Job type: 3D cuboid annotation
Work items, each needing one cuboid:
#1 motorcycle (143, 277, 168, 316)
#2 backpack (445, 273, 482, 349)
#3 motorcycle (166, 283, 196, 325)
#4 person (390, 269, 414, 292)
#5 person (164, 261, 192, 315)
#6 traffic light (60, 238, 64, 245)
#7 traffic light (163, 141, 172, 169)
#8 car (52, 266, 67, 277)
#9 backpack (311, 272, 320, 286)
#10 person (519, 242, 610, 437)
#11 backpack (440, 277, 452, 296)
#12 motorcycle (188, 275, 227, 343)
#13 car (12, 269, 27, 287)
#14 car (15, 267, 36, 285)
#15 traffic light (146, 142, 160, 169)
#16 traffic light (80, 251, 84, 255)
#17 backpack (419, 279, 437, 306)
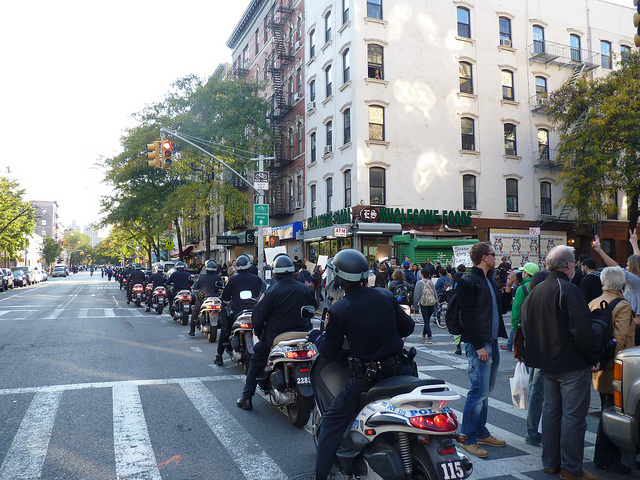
[{"bbox_3d":[-5.843,2.040,23.359,0.726,1.252,2.052,5,-8,-23],"label":"motorcycle"},{"bbox_3d":[2.186,1.032,10.220,0.283,1.039,0.580,-5,7,-40],"label":"backpack"},{"bbox_3d":[-4.109,1.944,19.332,0.625,0.886,1.464,1,-1,-16],"label":"motorcycle"},{"bbox_3d":[2.539,1.265,20.302,0.803,1.241,0.526,0,-5,13],"label":"person"},{"bbox_3d":[-4.253,1.229,20.330,0.867,1.139,1.661,2,7,-10],"label":"person"},{"bbox_3d":[-45.186,0.294,114.787,0.484,1.797,0.514,2,-3,-14],"label":"traffic light"},{"bbox_3d":[-5.107,-2.857,21.826,0.266,0.899,0.477,-2,6,-14],"label":"traffic light"},{"bbox_3d":[-34.044,4.227,85.745,1.088,1.001,1.935,1,8,-6],"label":"car"},{"bbox_3d":[-0.173,1.582,26.039,0.235,0.521,0.585,0,5,-2],"label":"backpack"},{"bbox_3d":[3.468,1.500,9.549,0.531,2.740,0.939,-4,7,-34],"label":"person"},{"bbox_3d":[3.958,1.462,20.413,0.345,0.534,0.537,7,-18,-21],"label":"backpack"},{"bbox_3d":[-2.685,1.983,16.159,0.934,1.271,1.795,3,-1,-16],"label":"motorcycle"},{"bbox_3d":[-22.645,2.821,49.024,0.827,0.853,1.589,0,-7,-12],"label":"car"},{"bbox_3d":[-24.083,2.853,53.389,1.104,1.062,2.068,0,-10,-18],"label":"car"},{"bbox_3d":[-5.578,-2.902,21.923,0.379,0.813,1.901,-2,5,-14],"label":"traffic light"},{"bbox_3d":[-60.702,3.344,167.006,0.703,0.972,1.496,3,4,-18],"label":"traffic light"},{"bbox_3d":[3.036,1.499,18.455,0.416,0.675,0.440,1,6,11],"label":"backpack"}]
